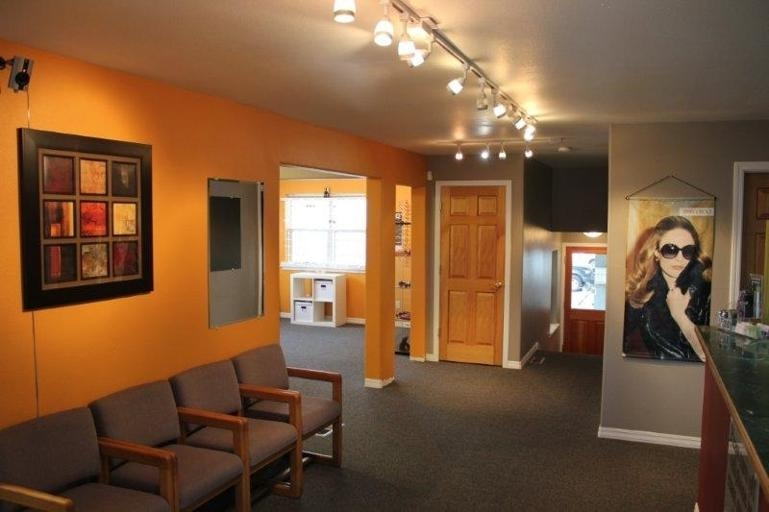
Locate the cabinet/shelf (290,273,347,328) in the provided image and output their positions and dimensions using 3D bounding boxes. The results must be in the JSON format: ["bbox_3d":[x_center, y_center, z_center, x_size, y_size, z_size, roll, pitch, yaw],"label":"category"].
[{"bbox_3d":[-1.283,0.854,10.855,1.030,0.975,0.497,0,1,25],"label":"cabinet/shelf"}]

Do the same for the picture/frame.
[{"bbox_3d":[-2.064,-0.258,3.849,0.082,1.171,0.855,6,8,42],"label":"picture/frame"}]
